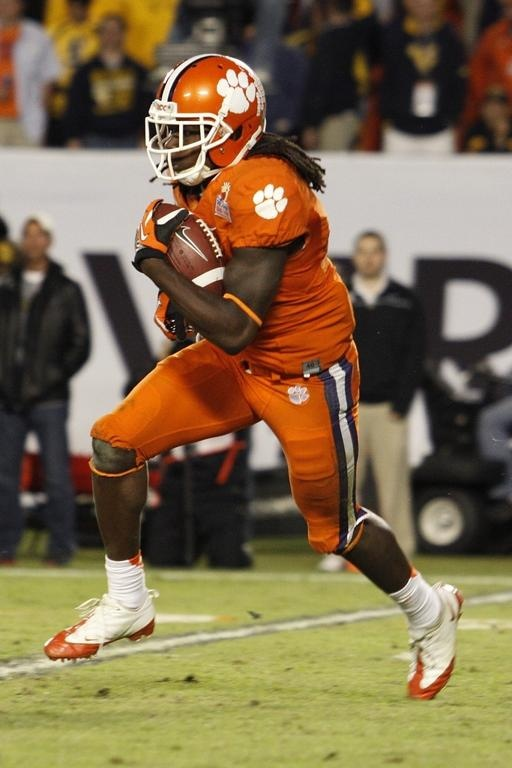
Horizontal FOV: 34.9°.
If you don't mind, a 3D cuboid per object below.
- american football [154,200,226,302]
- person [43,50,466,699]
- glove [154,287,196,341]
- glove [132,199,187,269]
[{"bbox_3d":[-0.134,-0.305,1.881,0.126,0.181,0.154,4,17,17],"label":"american football"},{"bbox_3d":[0.011,0.014,2.048,1.035,1.645,0.592,2,17,12],"label":"person"},{"bbox_3d":[-0.202,-0.163,1.999,0.050,0.133,0.097,-47,27,-11],"label":"glove"},{"bbox_3d":[-0.226,-0.356,1.923,0.116,0.168,0.076,19,-21,5],"label":"glove"}]
